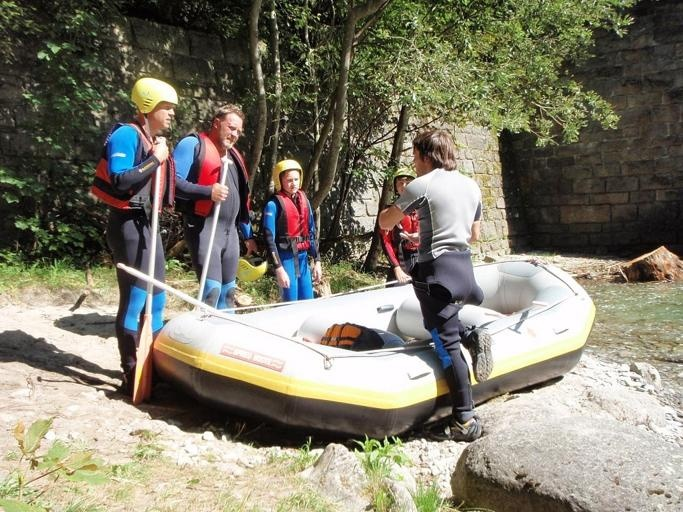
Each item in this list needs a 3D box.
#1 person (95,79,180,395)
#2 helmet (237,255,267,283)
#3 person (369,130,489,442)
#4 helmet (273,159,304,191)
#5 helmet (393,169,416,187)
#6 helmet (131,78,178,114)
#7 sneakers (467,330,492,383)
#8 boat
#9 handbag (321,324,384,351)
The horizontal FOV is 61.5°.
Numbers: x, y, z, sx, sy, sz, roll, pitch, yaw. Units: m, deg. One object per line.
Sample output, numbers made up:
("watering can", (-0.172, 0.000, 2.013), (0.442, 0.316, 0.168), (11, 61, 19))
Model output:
("person", (-1.421, -0.132, 4.070), (0.578, 2.186, 0.457), (-1, 8, -36))
("helmet", (-0.805, 0.112, 5.049), (0.242, 0.144, 0.189), (14, 13, 16))
("person", (0.658, 0.209, 3.858), (0.808, 2.096, 0.407), (4, 7, 4))
("helmet", (-0.454, -0.745, 5.307), (0.316, 0.318, 0.364), (-5, 5, -28))
("helmet", (0.633, -0.810, 5.763), (0.221, 0.152, 0.307), (-1, -20, 2))
("helmet", (-1.324, -1.105, 4.014), (0.331, 0.227, 0.224), (14, 15, -6))
("sneakers", (0.923, 0.670, 3.894), (0.175, 0.321, 0.154), (-10, -1, -27))
("boat", (0.567, 0.700, 4.304), (2.702, 0.565, 1.444), (-5, 14, -38))
("handbag", (0.090, 0.602, 4.277), (0.324, 0.109, 0.231), (10, 7, 12))
